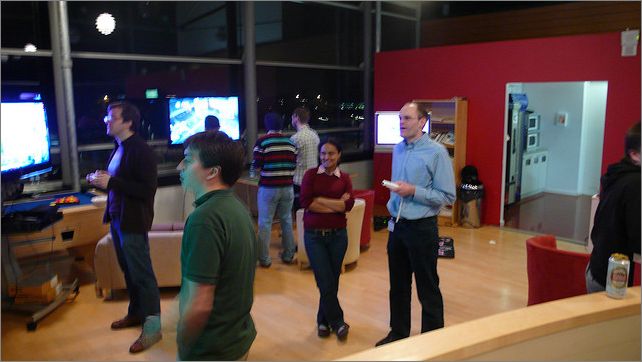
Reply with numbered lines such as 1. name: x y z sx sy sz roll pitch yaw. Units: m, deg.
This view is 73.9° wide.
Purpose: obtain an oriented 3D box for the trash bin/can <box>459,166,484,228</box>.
1. trash bin/can: 3.225 0.336 9.223 0.508 1.306 0.452 1 12 18

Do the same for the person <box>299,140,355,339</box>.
1. person: 0.095 0.794 5.799 0.709 2.654 0.785 -2 12 2

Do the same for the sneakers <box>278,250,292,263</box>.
1. sneakers: -0.656 1.356 7.739 0.166 0.192 0.297 0 17 -13

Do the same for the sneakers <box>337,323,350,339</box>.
1. sneakers: 0.292 2.033 5.704 0.177 0.240 0.086 -10 14 -33

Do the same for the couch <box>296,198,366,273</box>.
1. couch: 0.048 0.973 7.755 1.450 1.132 1.250 -8 14 -42

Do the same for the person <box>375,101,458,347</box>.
1. person: 1.213 0.579 5.439 0.875 3.101 0.758 1 12 18

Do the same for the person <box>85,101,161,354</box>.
1. person: -2.501 0.604 5.646 0.733 3.273 0.731 -13 16 -42

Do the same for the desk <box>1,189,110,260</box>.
1. desk: -4.068 0.754 6.733 1.322 0.356 1.123 -13 20 -43

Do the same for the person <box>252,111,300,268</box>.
1. person: -0.788 0.166 7.507 0.804 2.685 0.474 -5 12 -11

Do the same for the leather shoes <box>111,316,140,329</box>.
1. leather shoes: -2.746 2.007 6.005 0.454 0.157 0.156 4 5 -27

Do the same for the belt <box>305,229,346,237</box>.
1. belt: 0.056 0.682 5.697 0.551 0.105 0.110 -3 11 -4
